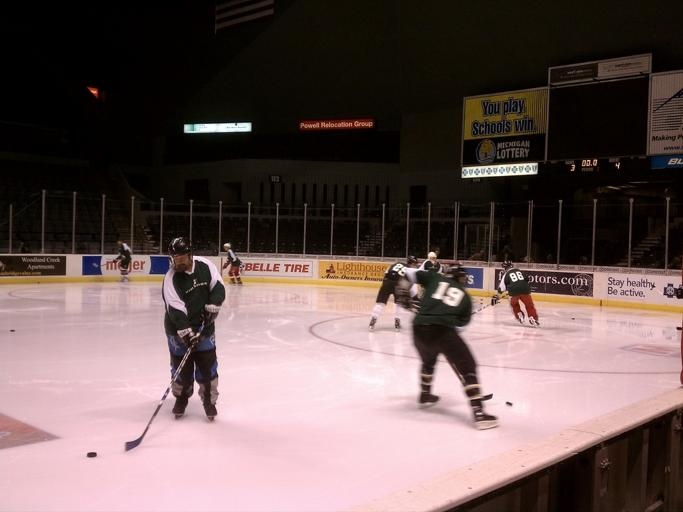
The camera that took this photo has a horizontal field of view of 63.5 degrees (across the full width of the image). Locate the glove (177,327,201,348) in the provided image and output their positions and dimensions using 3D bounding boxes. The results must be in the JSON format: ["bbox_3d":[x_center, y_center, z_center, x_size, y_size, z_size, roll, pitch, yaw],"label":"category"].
[{"bbox_3d":[-1.446,0.762,5.229,0.200,0.217,0.229,-1,10,-18],"label":"glove"}]

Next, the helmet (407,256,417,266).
[{"bbox_3d":[1.216,0.094,9.596,0.189,0.200,0.160,-1,3,-26],"label":"helmet"}]

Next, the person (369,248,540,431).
[{"bbox_3d":[1.058,0.887,5.678,0.516,1.577,1.241,-6,12,-40],"label":"person"}]

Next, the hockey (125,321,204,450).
[{"bbox_3d":[-1.854,1.397,5.812,0.199,0.246,1.667,38,30,-8],"label":"hockey"}]

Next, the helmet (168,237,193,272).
[{"bbox_3d":[-1.492,-0.038,5.227,0.222,0.290,0.295,1,43,-4],"label":"helmet"}]

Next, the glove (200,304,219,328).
[{"bbox_3d":[-1.225,0.590,5.369,0.213,0.220,0.169,4,-6,7],"label":"glove"}]

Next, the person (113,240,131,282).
[{"bbox_3d":[-7.526,0.196,18.999,0.591,1.390,1.176,-2,10,-22],"label":"person"}]
